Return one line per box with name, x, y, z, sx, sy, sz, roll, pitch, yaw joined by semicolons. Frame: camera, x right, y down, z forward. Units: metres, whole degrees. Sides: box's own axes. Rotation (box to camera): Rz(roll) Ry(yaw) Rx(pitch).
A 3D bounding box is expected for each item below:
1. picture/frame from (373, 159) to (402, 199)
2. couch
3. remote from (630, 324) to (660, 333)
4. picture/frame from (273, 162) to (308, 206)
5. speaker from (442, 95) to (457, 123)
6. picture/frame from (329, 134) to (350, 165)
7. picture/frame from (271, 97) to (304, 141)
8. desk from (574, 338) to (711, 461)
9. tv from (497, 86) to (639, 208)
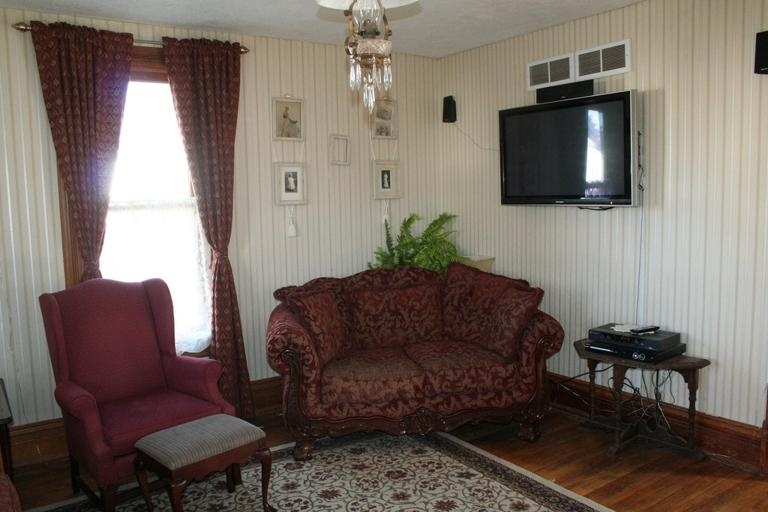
picture/frame;0.026;-0.796;5.995;0.343;0.383;0.036;3;9;29
couch;0.224;0.892;5.051;2.507;1.255;1.278;-1;10;-10
remote;2.105;0.593;4.598;0.296;0.036;0.113;-4;9;-15
picture/frame;-0.885;-0.700;5.489;0.314;0.386;0.039;2;10;17
speaker;0.681;-1.557;6.075;0.188;0.296;0.157;3;10;28
picture/frame;-0.456;-1.067;5.716;0.323;0.360;0.027;-2;3;-40
picture/frame;-0.931;-1.312;5.445;0.428;0.514;0.035;-3;4;-33
desk;1.999;1.174;4.673;0.603;0.707;1.079;-2;3;-35
tv;1.647;-0.951;4.989;0.179;0.834;1.220;-7;5;-44
